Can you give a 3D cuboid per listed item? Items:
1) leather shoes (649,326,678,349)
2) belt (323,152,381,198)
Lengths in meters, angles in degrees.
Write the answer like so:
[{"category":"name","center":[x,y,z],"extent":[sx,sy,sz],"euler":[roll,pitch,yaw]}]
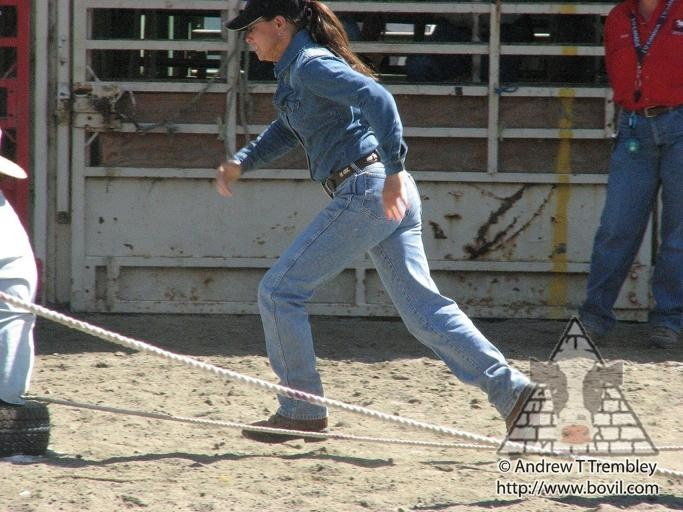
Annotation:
[{"category":"leather shoes","center":[2.249,0.566,12.450],"extent":[0.260,0.109,0.138],"euler":[4,49,3]},{"category":"belt","center":[0.097,-0.481,10.954],"extent":[0.363,0.105,0.262],"euler":[-25,-4,5]}]
